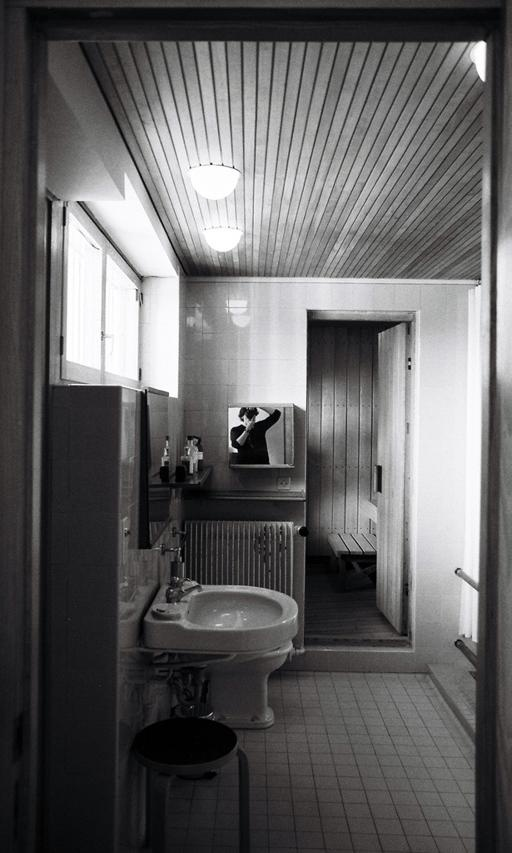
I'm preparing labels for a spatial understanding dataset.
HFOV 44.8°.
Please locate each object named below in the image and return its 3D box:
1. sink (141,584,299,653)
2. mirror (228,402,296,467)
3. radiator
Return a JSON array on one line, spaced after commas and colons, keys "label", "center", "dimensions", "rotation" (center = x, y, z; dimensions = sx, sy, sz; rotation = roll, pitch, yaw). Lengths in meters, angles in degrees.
[{"label": "sink", "center": [-0.129, 0.747, 2.418], "dimensions": [0.575, 0.235, 0.712], "rotation": [2, -1, -8]}, {"label": "mirror", "center": [0.036, 0.058, 3.834], "dimensions": [0.250, 0.360, 0.031], "rotation": [-1, -2, 4]}, {"label": "radiator", "center": [-0.110, 0.772, 3.622], "dimensions": [0.384, 0.513, 0.047], "rotation": [0, -2, -1]}]
